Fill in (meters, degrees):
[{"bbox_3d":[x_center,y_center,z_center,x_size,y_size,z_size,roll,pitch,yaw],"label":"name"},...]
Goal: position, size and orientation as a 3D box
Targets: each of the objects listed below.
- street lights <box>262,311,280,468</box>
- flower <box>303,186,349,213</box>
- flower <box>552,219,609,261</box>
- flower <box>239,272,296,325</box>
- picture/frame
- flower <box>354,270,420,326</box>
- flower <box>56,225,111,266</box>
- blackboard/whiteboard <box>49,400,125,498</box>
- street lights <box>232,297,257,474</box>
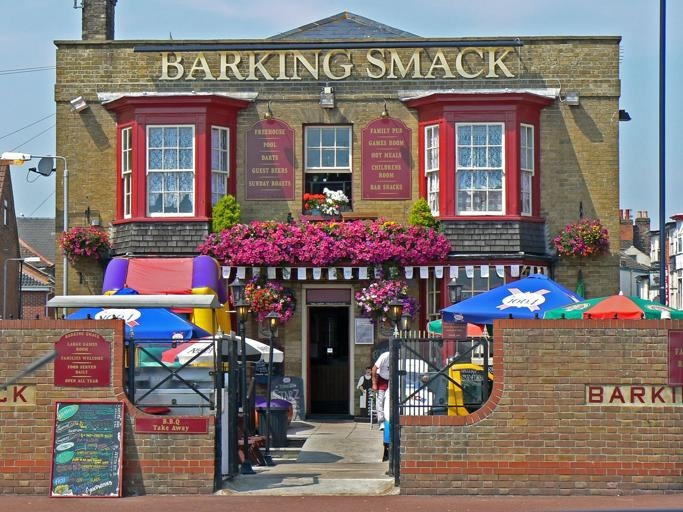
[{"bbox_3d":[-1.834,3.048,47.695,0.378,2.876,0.598,0,0,6],"label":"street lights"},{"bbox_3d":[-0.376,-1.365,51.370,0.810,0.514,0.733,1,4,21],"label":"flower"},{"bbox_3d":[6.036,-0.381,50.817,1.380,0.882,0.584,-11,2,6],"label":"flower"},{"bbox_3d":[-1.925,1.133,50.872,0.952,1.305,0.873,1,-5,-29],"label":"flower"},{"bbox_3d":[-5.470,4.193,42.536,2.115,2.679,0.104,0,-5,4],"label":"picture/frame"},{"bbox_3d":[1.022,1.131,50.764,1.491,1.091,0.796,-11,2,6],"label":"flower"},{"bbox_3d":[-6.624,-0.264,51.024,1.098,0.824,1.001,1,-3,1],"label":"flower"},{"bbox_3d":[-5.460,4.215,42.531,2.098,2.651,0.099,0,-6,5],"label":"blackboard/whiteboard"},{"bbox_3d":[-2.187,3.024,45.333,0.787,3.380,0.579,-2,-2,-8],"label":"street lights"}]
